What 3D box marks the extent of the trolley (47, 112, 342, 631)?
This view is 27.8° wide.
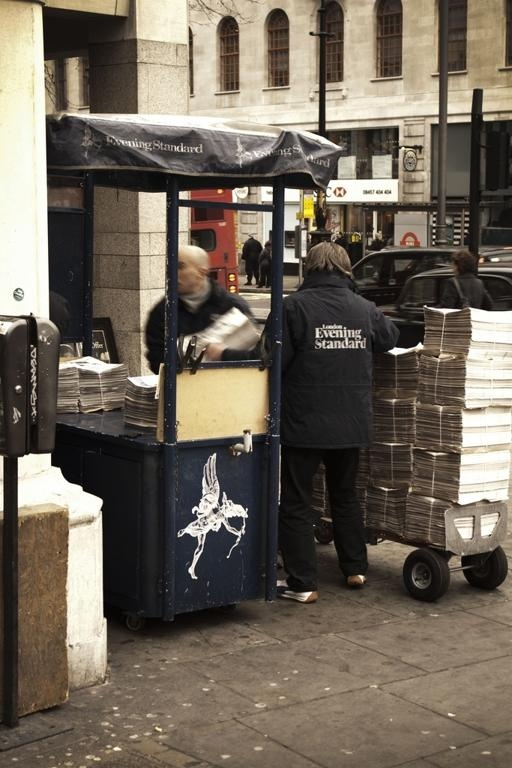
[{"bbox_3d":[-0.354,-0.139,5.146,1.419,2.429,1.179,1,3,6],"label":"trolley"}]

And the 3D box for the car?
[{"bbox_3d":[2.230,-1.342,14.258,2.500,1.473,1.457,2,6,18],"label":"car"}]

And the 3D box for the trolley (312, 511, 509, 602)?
[{"bbox_3d":[0.954,0.875,5.729,0.395,0.370,0.765,-2,6,-41],"label":"trolley"}]

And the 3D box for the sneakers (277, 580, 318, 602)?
[{"bbox_3d":[0.216,1.122,5.567,0.088,0.114,0.237,-6,14,-41],"label":"sneakers"}]

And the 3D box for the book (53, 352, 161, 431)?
[{"bbox_3d":[-0.784,0.039,5.508,0.375,0.187,0.467,0,7,-29],"label":"book"}]

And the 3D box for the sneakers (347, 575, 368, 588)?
[{"bbox_3d":[0.556,1.111,5.782,0.046,0.060,0.131,-3,-7,-4],"label":"sneakers"}]
